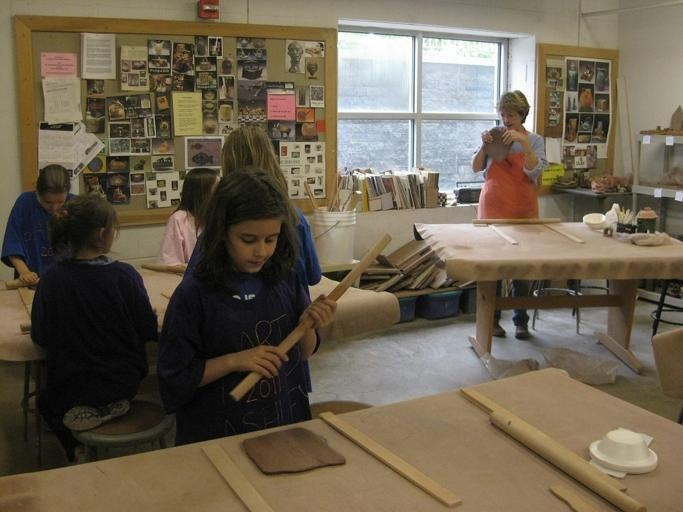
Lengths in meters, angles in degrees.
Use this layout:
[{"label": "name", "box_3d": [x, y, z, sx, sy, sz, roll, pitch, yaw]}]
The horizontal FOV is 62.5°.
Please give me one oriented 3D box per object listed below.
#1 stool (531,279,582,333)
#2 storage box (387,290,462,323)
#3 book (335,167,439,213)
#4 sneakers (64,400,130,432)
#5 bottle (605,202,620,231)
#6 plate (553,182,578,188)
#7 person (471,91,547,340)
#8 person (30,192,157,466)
[{"label": "stool", "box_3d": [2.002, 0.307, 5.251, 0.407, 0.708, 0.432, -2, 10, 21]}, {"label": "storage box", "box_3d": [0.862, 0.472, 5.335, 0.354, 0.214, 0.491, -4, 6, -29]}, {"label": "book", "box_3d": [0.473, -0.651, 5.543, 1.144, 0.393, 0.268, -8, 16, -26]}, {"label": "sneakers", "box_3d": [-1.038, 0.673, 2.441, 0.276, 0.080, 0.110, -10, 40, -44]}, {"label": "bottle", "box_3d": [2.125, -0.296, 4.331, 0.066, 0.202, 0.143, 18, -4, -17]}, {"label": "plate", "box_3d": [2.442, -0.771, 6.124, 0.231, 0.061, 0.134, 3, 15, 12]}, {"label": "person", "box_3d": [1.457, -0.396, 4.879, 0.671, 2.168, 0.680, 1, -7, 26]}, {"label": "person", "box_3d": [-1.128, 0.366, 2.610, 0.537, 1.272, 0.520, 1, 12, -17]}]
